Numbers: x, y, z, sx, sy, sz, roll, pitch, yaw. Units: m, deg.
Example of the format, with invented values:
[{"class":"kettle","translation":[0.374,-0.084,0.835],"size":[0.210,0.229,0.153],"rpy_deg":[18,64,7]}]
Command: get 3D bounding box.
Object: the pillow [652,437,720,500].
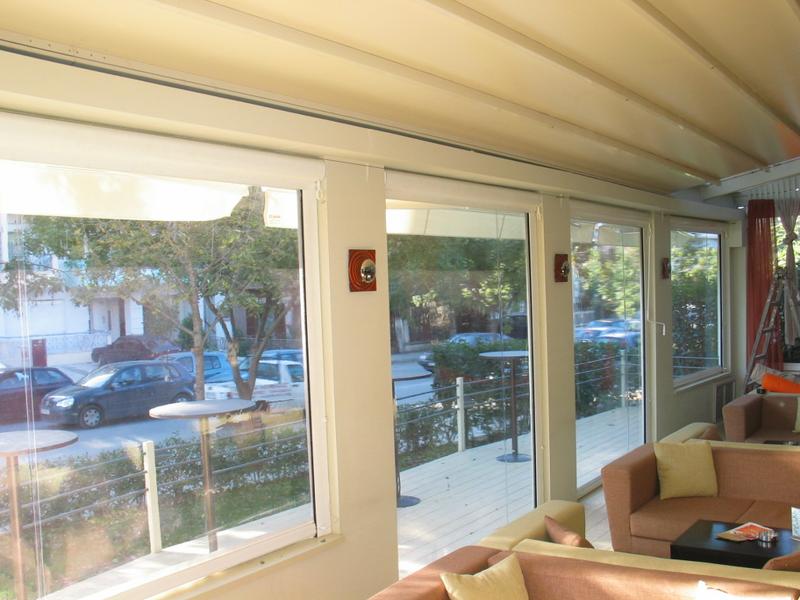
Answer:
[{"class":"pillow","translation":[2.266,1.323,4.600],"size":[0.473,0.407,0.187],"rpy_deg":[0,-21,0]}]
